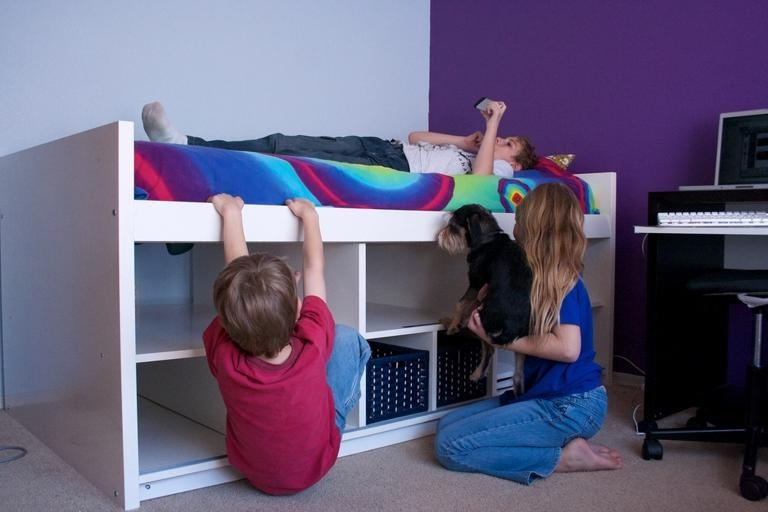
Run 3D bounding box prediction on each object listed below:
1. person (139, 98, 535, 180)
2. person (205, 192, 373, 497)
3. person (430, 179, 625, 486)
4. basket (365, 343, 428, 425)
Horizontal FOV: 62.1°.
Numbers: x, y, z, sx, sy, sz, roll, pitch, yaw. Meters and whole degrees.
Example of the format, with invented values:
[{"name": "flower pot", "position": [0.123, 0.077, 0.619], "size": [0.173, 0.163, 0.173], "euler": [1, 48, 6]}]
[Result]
[{"name": "person", "position": [-0.245, -0.604, 3.264], "size": [2.047, 0.530, 0.674], "euler": [-1, 12, -19]}, {"name": "person", "position": [-0.357, 0.350, 2.348], "size": [0.563, 1.066, 0.432], "euler": [-9, 15, -38]}, {"name": "person", "position": [0.574, 0.302, 2.684], "size": [0.788, 1.194, 0.590], "euler": [2, 3, 7]}, {"name": "basket", "position": [0.063, 0.542, 2.759], "size": [0.279, 0.210, 0.284], "euler": [0, 2, -33]}]
